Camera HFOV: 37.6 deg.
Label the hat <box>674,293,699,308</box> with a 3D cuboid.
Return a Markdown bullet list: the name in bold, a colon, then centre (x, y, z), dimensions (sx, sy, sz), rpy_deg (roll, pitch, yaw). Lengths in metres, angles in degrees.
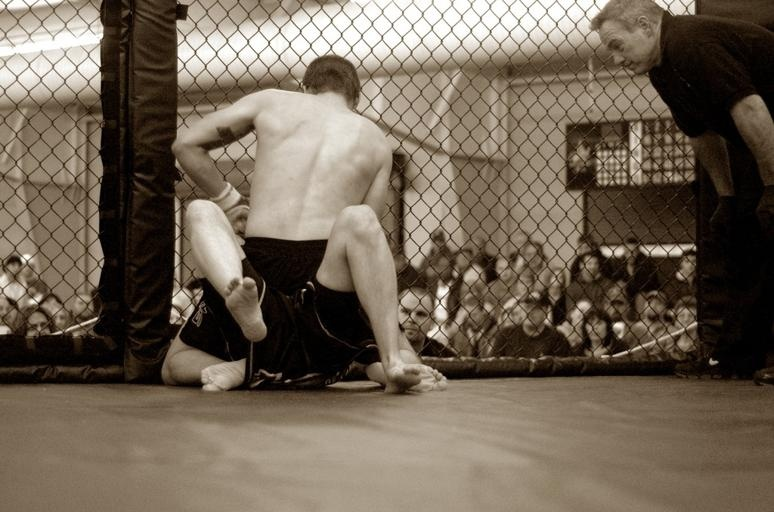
- **hat**: centre (2.091, 0.310, 7.936), dimensions (0.206, 0.091, 0.282), rpy_deg (0, -7, 4)
